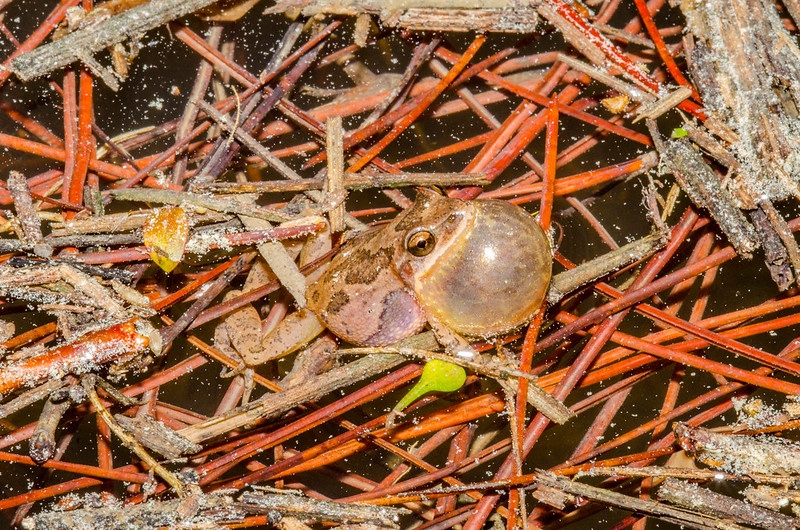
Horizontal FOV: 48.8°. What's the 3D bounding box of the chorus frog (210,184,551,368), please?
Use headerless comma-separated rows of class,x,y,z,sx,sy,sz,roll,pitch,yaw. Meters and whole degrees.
chorus frog,0.011,0.026,1.838,0.474,0.201,0.348,-9,46,12
